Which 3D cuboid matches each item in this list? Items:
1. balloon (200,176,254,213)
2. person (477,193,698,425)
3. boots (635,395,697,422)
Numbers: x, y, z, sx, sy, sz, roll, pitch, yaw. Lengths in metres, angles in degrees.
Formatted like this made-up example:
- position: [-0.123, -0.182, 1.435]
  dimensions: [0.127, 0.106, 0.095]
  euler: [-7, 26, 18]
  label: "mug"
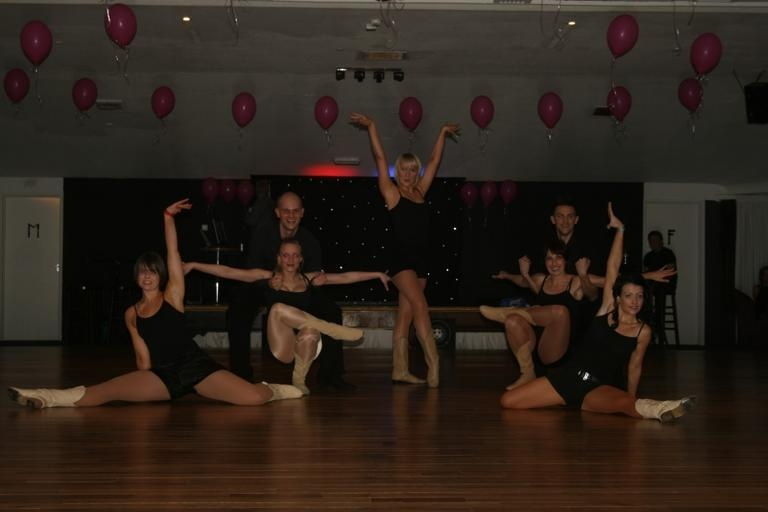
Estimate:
- position: [-2.325, -0.899, 11.814]
  dimensions: [0.689, 0.374, 0.234]
  euler: [-1, -3, -2]
  label: "balloon"
- position: [2.054, 0.511, 7.359]
  dimensions: [1.499, 1.805, 0.489]
  euler: [2, 1, 20]
  label: "person"
- position: [2.442, 1.304, 7.079]
  dimensions: [0.282, 0.214, 0.630]
  euler: [-7, 2, -43]
  label: "boots"
